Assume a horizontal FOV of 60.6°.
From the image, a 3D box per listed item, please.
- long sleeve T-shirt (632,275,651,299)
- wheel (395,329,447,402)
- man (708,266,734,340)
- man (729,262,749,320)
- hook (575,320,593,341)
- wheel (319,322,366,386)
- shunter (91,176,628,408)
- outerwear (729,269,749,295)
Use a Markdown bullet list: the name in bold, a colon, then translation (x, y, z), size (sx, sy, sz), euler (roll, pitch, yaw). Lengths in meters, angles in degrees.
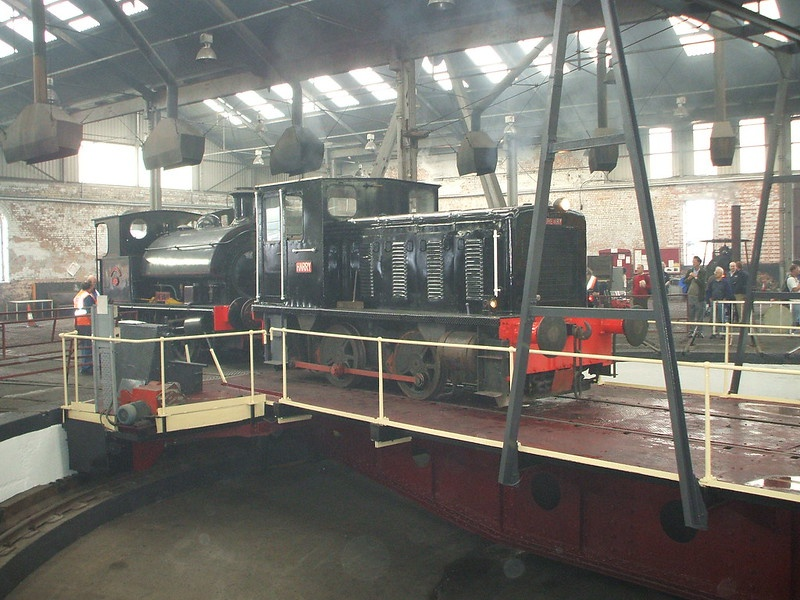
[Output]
- **long sleeve T-shirt**: translation (5.650, -0.317, 16.022), size (0.498, 0.725, 0.388), euler (1, 5, 6)
- **wheel**: translation (0.308, 0.908, 9.367), size (0.203, 1.053, 0.898), euler (7, -3, -44)
- **man**: translation (7.483, 0.064, 16.147), size (0.547, 1.700, 0.493), euler (1, -6, 35)
- **man**: translation (8.161, -0.171, 16.699), size (0.459, 1.560, 0.529), euler (-2, -6, 22)
- **hook**: translation (2.381, 0.398, 8.954), size (0.197, 0.279, 0.112), euler (-5, -15, -27)
- **wheel**: translation (-0.835, 0.800, 10.195), size (0.186, 0.889, 0.753), euler (10, 3, -43)
- **shunter**: translation (-1.454, -0.317, 12.064), size (9.875, 3.316, 2.634), euler (3, 4, 36)
- **outerwear**: translation (7.835, -0.415, 15.867), size (0.520, 0.640, 0.346), euler (-6, 13, -10)
